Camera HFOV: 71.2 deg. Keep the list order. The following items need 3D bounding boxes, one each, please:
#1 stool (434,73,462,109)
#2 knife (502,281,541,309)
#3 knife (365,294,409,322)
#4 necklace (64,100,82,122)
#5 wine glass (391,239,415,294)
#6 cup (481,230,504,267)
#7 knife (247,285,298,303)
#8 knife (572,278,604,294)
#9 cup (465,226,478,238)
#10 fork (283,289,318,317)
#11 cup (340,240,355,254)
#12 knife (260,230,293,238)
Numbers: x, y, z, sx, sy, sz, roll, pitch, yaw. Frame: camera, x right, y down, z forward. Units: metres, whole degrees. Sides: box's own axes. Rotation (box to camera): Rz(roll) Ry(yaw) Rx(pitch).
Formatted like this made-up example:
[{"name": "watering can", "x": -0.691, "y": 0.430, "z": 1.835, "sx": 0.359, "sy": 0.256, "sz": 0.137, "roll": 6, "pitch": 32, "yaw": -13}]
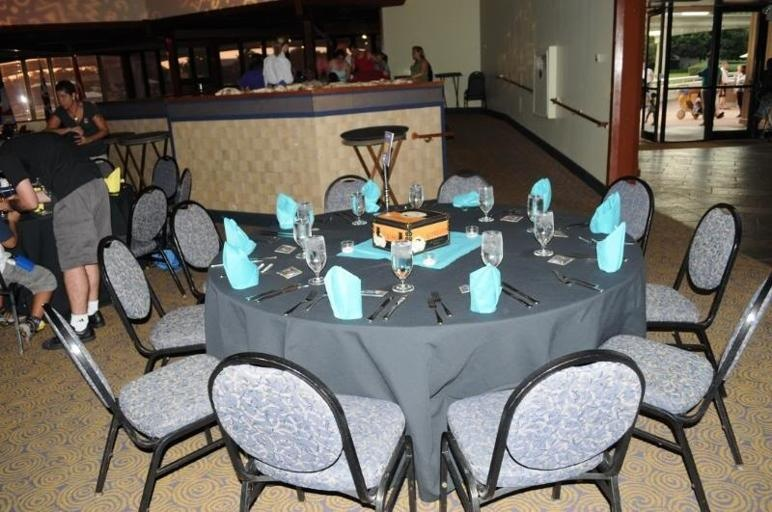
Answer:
[{"name": "stool", "x": 1.633, "y": -4.438, "z": 14.518, "sx": 0.701, "sy": 0.917, "sz": 0.688, "roll": -1, "pitch": 21, "yaw": 6}, {"name": "knife", "x": 0.691, "y": 0.200, "z": 2.828, "sx": 0.067, "sy": 0.018, "sz": 0.234, "roll": -23, "pitch": 25, "yaw": -15}, {"name": "knife", "x": 0.011, "y": 0.251, "z": 2.765, "sx": 0.082, "sy": 0.013, "sz": 0.221, "roll": 9, "pitch": 23, "yaw": 16}, {"name": "necklace", "x": -3.575, "y": -1.666, "z": 6.188, "sx": 0.168, "sy": 0.242, "sz": 0.212, "roll": -8, "pitch": 1, "yaw": -11}, {"name": "wine glass", "x": 0.079, "y": 0.035, "z": 2.898, "sx": 0.111, "sy": 0.297, "sz": 0.260, "roll": -3, "pitch": 21, "yaw": 0}, {"name": "cup", "x": 0.561, "y": -0.025, "z": 2.912, "sx": 0.094, "sy": 0.209, "sz": 0.147, "roll": 4, "pitch": 22, "yaw": 20}, {"name": "knife", "x": -0.623, "y": 0.204, "z": 2.937, "sx": 0.311, "sy": 0.026, "sz": 0.090, "roll": -16, "pitch": 31, "yaw": -36}, {"name": "knife", "x": 1.069, "y": 0.155, "z": 2.882, "sx": 0.161, "sy": 0.007, "sz": 0.056, "roll": 26, "pitch": 73, "yaw": 29}, {"name": "cup", "x": 0.552, "y": -0.157, "z": 3.493, "sx": 0.077, "sy": 0.060, "sz": 0.079, "roll": -1, "pitch": 6, "yaw": 0}, {"name": "fork", "x": -0.437, "y": 0.235, "z": 2.872, "sx": 0.059, "sy": 0.045, "sz": 0.302, "roll": 18, "pitch": 34, "yaw": 25}, {"name": "cup", "x": -0.246, "y": -0.058, "z": 3.387, "sx": 0.081, "sy": 0.063, "sz": 0.082, "roll": -1, "pitch": 18, "yaw": 0}, {"name": "knife", "x": -0.769, "y": -0.150, "z": 3.713, "sx": 0.346, "sy": 0.065, "sz": 0.082, "roll": 0, "pitch": 6, "yaw": 6}]
